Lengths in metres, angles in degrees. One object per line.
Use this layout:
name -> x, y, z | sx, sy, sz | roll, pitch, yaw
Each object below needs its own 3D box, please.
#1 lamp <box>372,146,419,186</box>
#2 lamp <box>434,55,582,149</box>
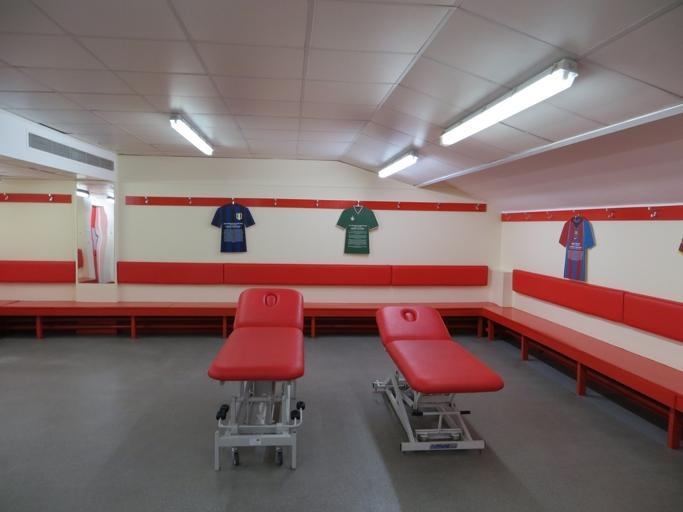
lamp -> 0.807, -1.346, 6.586 | 0.425, 0.463, 1.437 | 0, 15, -2
lamp -> 1.443, -1.062, 3.864 | 0.282, 0.194, 1.406 | 30, -18, -19
